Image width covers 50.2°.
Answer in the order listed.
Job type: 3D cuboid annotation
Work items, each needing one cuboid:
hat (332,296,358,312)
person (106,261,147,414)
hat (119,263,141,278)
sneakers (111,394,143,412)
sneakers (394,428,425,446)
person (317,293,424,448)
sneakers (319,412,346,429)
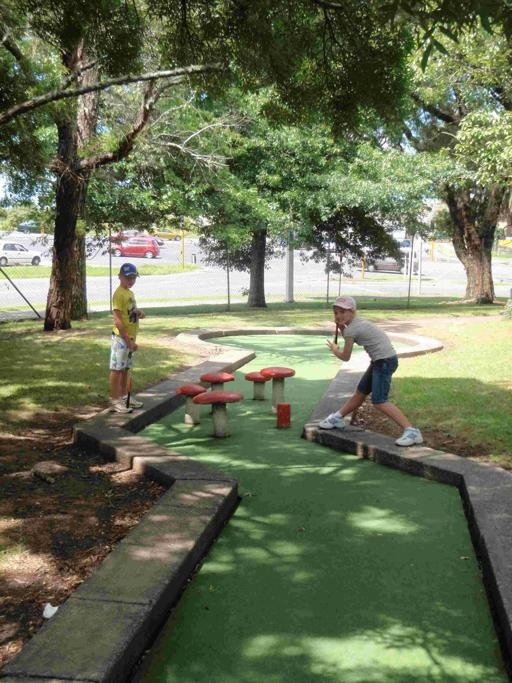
[{"bbox_3d":[0.874,-0.373,5.319,0.138,0.095,0.193,8,-11,42],"label":"hat"},{"bbox_3d":[-1.541,-0.048,6.466,0.376,1.714,0.881,-1,9,-14],"label":"person"},{"bbox_3d":[-1.423,-0.776,6.107,0.149,0.112,0.208,-2,10,-33],"label":"hat"},{"bbox_3d":[-1.472,0.738,6.457,0.425,0.179,0.165,0,6,4],"label":"sneakers"},{"bbox_3d":[1.502,0.933,5.393,0.356,0.163,0.124,-4,4,-34],"label":"sneakers"},{"bbox_3d":[1.166,0.273,5.605,0.985,1.442,0.868,2,8,5],"label":"person"},{"bbox_3d":[0.836,0.868,5.985,0.354,0.183,0.125,-3,4,-7],"label":"sneakers"}]
